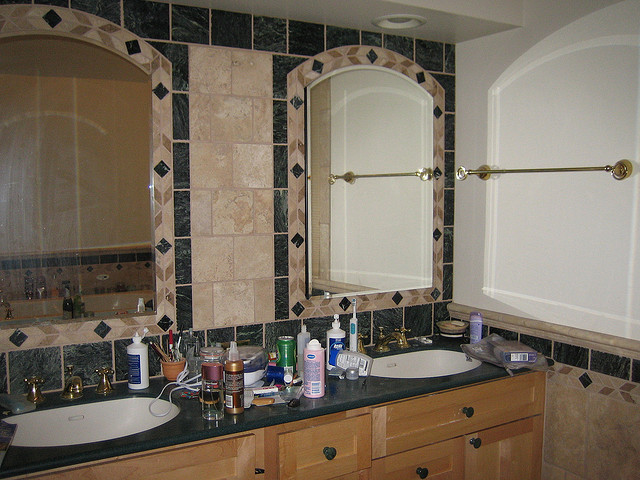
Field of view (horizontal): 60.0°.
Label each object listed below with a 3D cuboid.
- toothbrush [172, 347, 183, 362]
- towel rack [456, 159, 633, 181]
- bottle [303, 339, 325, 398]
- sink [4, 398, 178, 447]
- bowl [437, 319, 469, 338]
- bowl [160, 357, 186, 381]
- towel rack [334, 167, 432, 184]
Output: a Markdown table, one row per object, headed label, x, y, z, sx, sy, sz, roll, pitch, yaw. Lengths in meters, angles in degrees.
| label | x | y | z | sx | sy | sz | roll | pitch | yaw |
| --- | --- | --- | --- | --- | --- | --- | --- | --- | --- |
| toothbrush | -0.662 | 0.527 | 2.600 | 0.022 | 0.083 | 0.030 | 3 | -43 | -38 |
| towel rack | 1.085 | -0.341 | 2.803 | 0.102 | 0.125 | 0.886 | -6 | 5 | -41 |
| bottle | -0.017 | 0.562 | 2.433 | 0.127 | 0.232 | 0.094 | -4 | 4 | -23 |
| sink | -0.941 | 0.782 | 2.318 | 0.671 | 0.153 | 0.189 | -4 | 4 | -17 |
| bowl | 0.767 | 0.511 | 3.174 | 0.142 | 0.088 | 0.128 | -6 | 5 | -38 |
| bowl | -0.672 | 0.591 | 2.546 | 0.091 | 0.071 | 0.091 | 0 | -5 | 0 |
| towel rack | 0.326 | -0.356 | 3.064 | 0.485 | 0.073 | 0.070 | -4 | -3 | -8 |
